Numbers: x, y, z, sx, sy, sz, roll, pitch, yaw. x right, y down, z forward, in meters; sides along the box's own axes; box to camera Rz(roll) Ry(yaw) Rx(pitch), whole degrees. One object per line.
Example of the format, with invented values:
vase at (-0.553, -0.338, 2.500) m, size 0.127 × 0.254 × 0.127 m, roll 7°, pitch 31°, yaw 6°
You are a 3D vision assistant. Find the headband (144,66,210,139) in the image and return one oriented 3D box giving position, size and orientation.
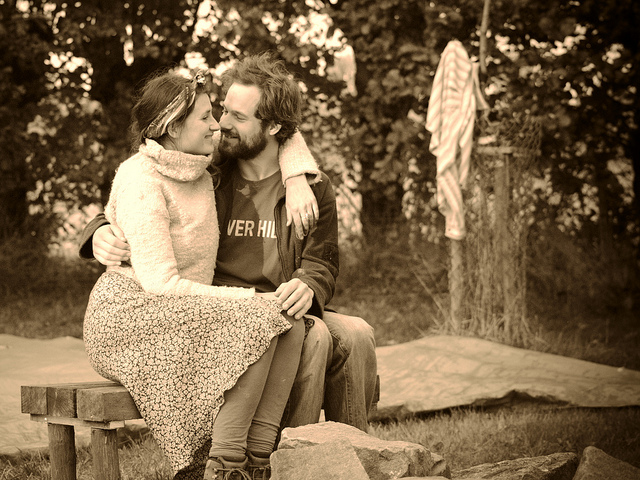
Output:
headband at (-1.020, -0.957, 7.622) m, size 0.270 × 0.520 × 0.304 m, roll 40°, pitch 5°, yaw -11°

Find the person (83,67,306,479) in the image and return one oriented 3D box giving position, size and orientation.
person at (-0.885, 0.211, 7.346) m, size 1.390 × 2.786 × 0.713 m, roll 4°, pitch 4°, yaw 25°

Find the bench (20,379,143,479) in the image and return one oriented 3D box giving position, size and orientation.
bench at (-1.588, 1.149, 7.328) m, size 0.789 × 0.801 × 0.623 m, roll 2°, pitch -5°, yaw -42°

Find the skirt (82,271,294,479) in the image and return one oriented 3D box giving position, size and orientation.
skirt at (-0.999, 0.786, 7.356) m, size 1.087 × 1.392 × 1.275 m, roll 2°, pitch 8°, yaw -41°
